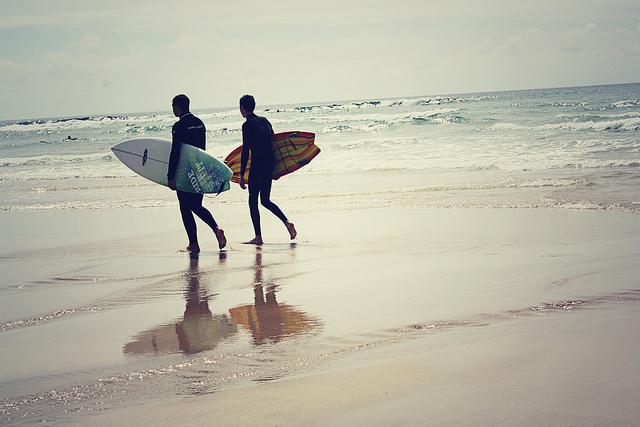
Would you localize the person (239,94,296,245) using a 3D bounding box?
[{"bbox_3d":[-0.898,-0.670,11.096,0.783,2.269,1.116,-6,12,-2],"label":"person"}]

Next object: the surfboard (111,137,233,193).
[{"bbox_3d":[-2.583,-0.819,11.225,0.253,0.772,2.807,-17,21,-39],"label":"surfboard"}]

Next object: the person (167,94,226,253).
[{"bbox_3d":[-1.905,-0.586,10.696,0.761,2.311,0.977,-7,12,-8],"label":"person"}]
